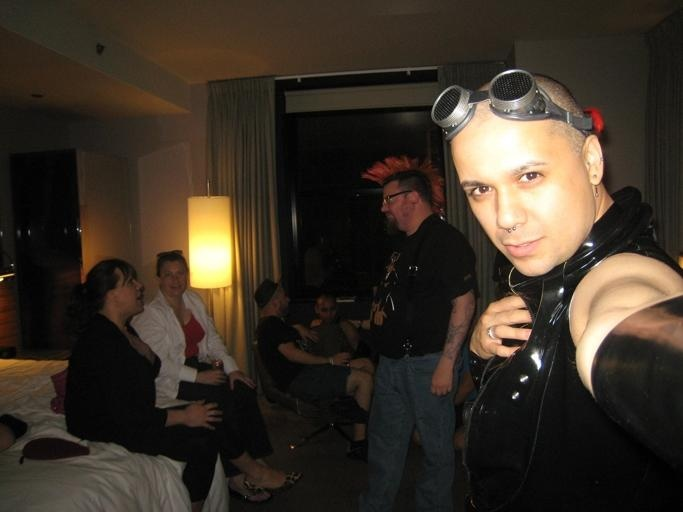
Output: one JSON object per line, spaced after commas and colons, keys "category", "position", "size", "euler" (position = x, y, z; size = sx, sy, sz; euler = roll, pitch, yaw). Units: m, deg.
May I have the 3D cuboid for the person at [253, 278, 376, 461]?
{"category": "person", "position": [-0.178, 0.855, 4.318], "size": [0.791, 1.480, 0.598], "euler": [-7, -4, 2]}

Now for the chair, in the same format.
{"category": "chair", "position": [-0.080, 1.039, 4.399], "size": [0.774, 0.824, 0.619], "euler": [2, 22, 5]}

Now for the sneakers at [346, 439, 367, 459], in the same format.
{"category": "sneakers", "position": [0.119, 1.344, 3.962], "size": [0.140, 0.152, 0.090], "euler": [4, -20, 15]}

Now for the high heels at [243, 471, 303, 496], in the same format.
{"category": "high heels", "position": [-0.436, 1.463, 3.647], "size": [0.325, 0.097, 0.125], "euler": [-5, -1, -7]}

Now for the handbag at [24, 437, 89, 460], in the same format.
{"category": "handbag", "position": [-1.521, 1.031, 3.024], "size": [0.242, 0.052, 0.136], "euler": [5, 10, -7]}

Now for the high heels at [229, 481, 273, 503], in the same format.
{"category": "high heels", "position": [-0.571, 1.495, 3.643], "size": [0.310, 0.133, 0.109], "euler": [-1, -1, 11]}
